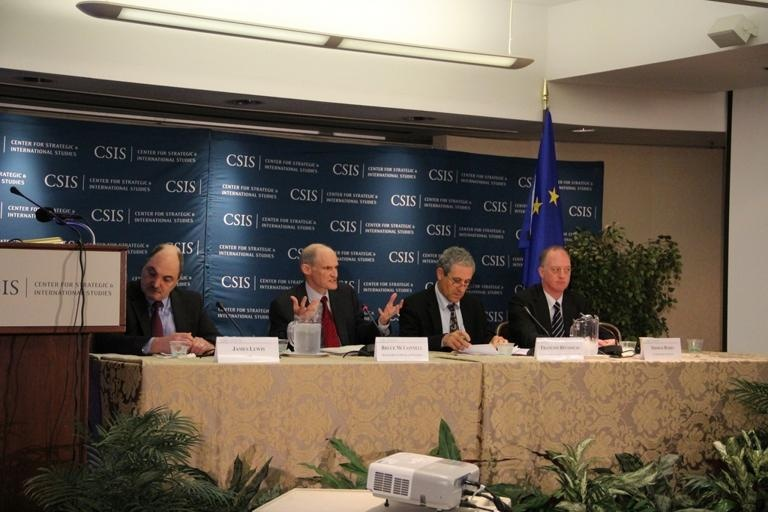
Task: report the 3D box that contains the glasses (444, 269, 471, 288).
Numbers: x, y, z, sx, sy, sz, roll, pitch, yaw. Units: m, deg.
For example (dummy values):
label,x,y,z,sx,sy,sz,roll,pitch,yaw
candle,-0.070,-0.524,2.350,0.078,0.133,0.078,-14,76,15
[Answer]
label,x,y,z,sx,sy,sz,roll,pitch,yaw
glasses,0.534,0.164,4.568,0.176,0.101,0.110,1,-3,5

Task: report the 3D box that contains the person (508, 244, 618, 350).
label,x,y,z,sx,sy,sz,roll,pitch,yaw
person,1.149,0.310,4.542,0.541,0.835,0.740,1,-8,-10

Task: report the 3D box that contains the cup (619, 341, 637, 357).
label,x,y,z,sx,sy,sz,roll,pitch,yaw
cup,1.372,0.502,3.585,0.095,0.069,0.095,1,4,0

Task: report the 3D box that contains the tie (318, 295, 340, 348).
label,x,y,z,sx,sy,sz,roll,pitch,yaw
tie,-0.358,0.441,4.298,0.192,0.279,0.071,1,-5,-41

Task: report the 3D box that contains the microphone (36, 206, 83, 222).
label,x,y,z,sx,sy,sz,roll,pitch,yaw
microphone,-1.977,-0.261,3.905,0.234,0.083,0.241,4,-2,-7

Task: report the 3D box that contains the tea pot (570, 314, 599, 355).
label,x,y,z,sx,sy,sz,roll,pitch,yaw
tea pot,1.108,0.445,3.622,0.184,0.269,0.219,3,-5,-4

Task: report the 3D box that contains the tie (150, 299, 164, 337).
label,x,y,z,sx,sy,sz,roll,pitch,yaw
tie,-1.374,0.357,3.928,0.066,0.288,0.048,14,-45,-19

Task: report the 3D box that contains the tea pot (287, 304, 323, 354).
label,x,y,z,sx,sy,sz,roll,pitch,yaw
tea pot,-0.380,0.390,3.287,0.283,0.288,0.184,0,-1,1

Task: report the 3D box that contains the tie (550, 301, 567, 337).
label,x,y,z,sx,sy,sz,roll,pitch,yaw
tie,1.242,0.457,4.563,0.152,0.218,0.056,-3,-11,-5

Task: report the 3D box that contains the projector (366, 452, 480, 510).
label,x,y,z,sx,sy,sz,roll,pitch,yaw
projector,0.140,0.796,2.308,0.234,0.103,0.231,3,-1,24

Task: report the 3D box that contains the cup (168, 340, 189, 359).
label,x,y,z,sx,sy,sz,roll,pitch,yaw
cup,-0.980,0.447,3.046,0.072,0.056,0.074,0,-7,0

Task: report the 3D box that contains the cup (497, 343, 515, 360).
label,x,y,z,sx,sy,sz,roll,pitch,yaw
cup,0.667,0.508,3.458,0.068,0.057,0.074,0,-9,0

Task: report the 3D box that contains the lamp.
label,x,y,z,sx,sy,sz,roll,pitch,yaw
lamp,-0.545,-1.582,4.605,3.024,0.097,0.342,2,-3,-15
